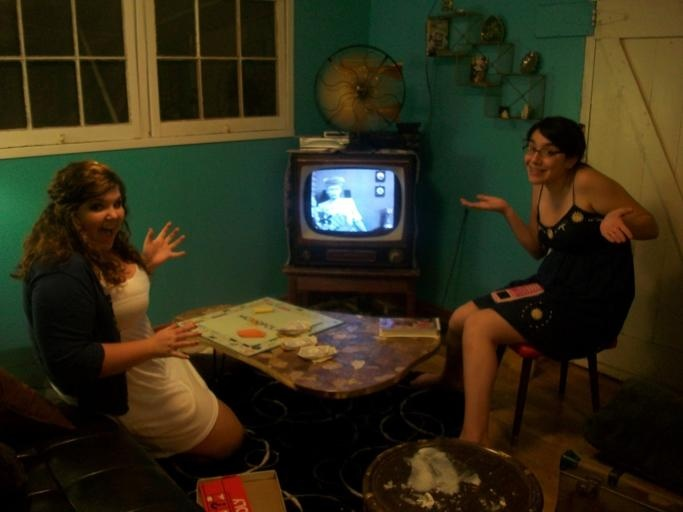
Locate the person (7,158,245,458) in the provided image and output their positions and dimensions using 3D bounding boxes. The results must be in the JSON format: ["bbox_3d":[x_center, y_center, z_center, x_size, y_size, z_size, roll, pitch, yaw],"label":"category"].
[{"bbox_3d":[-0.972,0.227,2.605,0.727,1.345,0.760,-14,40,-22],"label":"person"}]

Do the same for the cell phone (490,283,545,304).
[{"bbox_3d":[0.853,0.182,2.842,0.175,0.018,0.097,-15,19,0],"label":"cell phone"}]

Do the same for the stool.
[{"bbox_3d":[1.053,0.553,3.048,0.538,0.554,0.539,-6,16,-11],"label":"stool"}]

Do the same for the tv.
[{"bbox_3d":[0.085,-0.293,3.567,0.621,0.574,0.303,1,5,3],"label":"tv"}]

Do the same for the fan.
[{"bbox_3d":[0.133,-1.121,3.753,0.535,0.189,0.555,8,-8,-1],"label":"fan"}]
